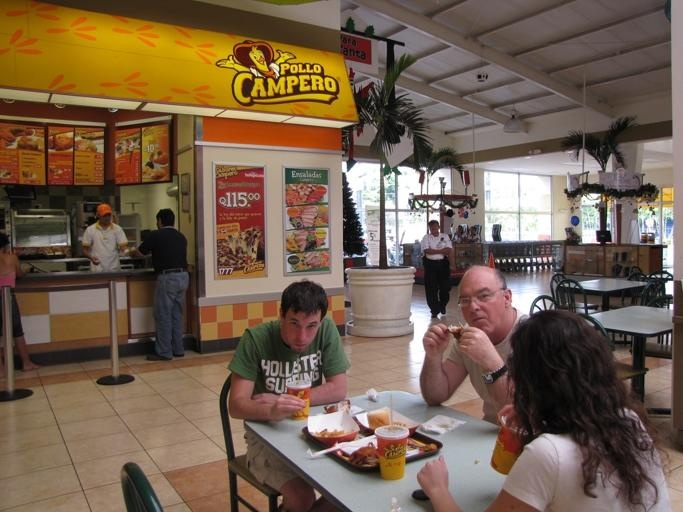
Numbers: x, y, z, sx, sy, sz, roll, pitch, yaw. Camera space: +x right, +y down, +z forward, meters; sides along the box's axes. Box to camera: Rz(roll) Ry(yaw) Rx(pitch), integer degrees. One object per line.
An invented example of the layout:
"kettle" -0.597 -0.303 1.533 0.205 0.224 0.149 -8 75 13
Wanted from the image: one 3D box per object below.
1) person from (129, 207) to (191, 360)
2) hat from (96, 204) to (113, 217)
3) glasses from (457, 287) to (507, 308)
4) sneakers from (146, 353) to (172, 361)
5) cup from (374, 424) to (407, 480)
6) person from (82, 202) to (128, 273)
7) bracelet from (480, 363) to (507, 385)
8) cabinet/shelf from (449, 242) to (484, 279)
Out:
"person" -2.246 0.352 6.504 0.603 1.865 0.540 -3 6 -21
"hat" -3.241 -0.608 6.982 0.213 0.171 0.303 -2 -1 -37
"glasses" 0.710 0.214 2.558 0.227 0.108 0.141 1 6 14
"sneakers" -2.292 1.271 6.398 0.236 0.090 0.126 8 -3 2
"cup" 0.168 0.714 1.895 0.168 0.173 0.163 -1 -2 0
"person" -3.242 -0.239 6.968 0.538 0.900 0.447 -3 6 -22
"bracelet" 0.668 0.505 2.207 0.121 0.049 0.126 -30 -7 19
"cabinet/shelf" 3.050 0.077 12.682 1.126 1.039 0.428 -1 0 -28
